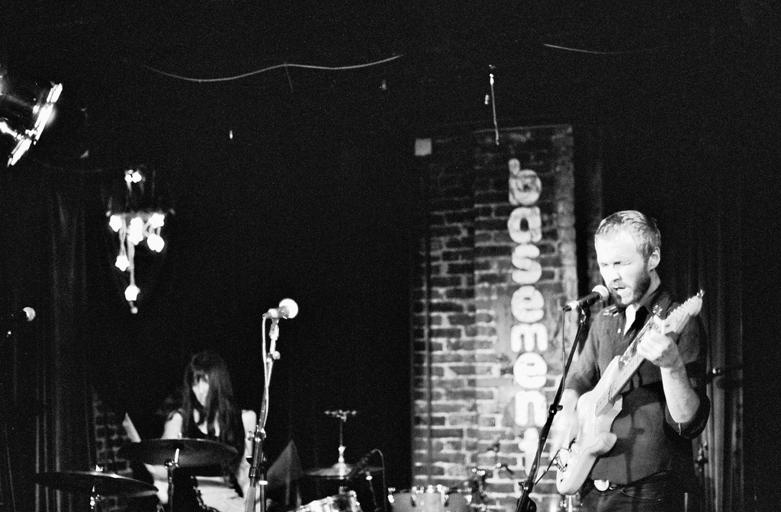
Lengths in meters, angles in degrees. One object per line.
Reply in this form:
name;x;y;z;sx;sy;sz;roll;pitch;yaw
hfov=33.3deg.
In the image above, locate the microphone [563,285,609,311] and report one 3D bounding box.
microphone;1.283;0.278;8.419;0.141;0.144;0.406;6;11;40
